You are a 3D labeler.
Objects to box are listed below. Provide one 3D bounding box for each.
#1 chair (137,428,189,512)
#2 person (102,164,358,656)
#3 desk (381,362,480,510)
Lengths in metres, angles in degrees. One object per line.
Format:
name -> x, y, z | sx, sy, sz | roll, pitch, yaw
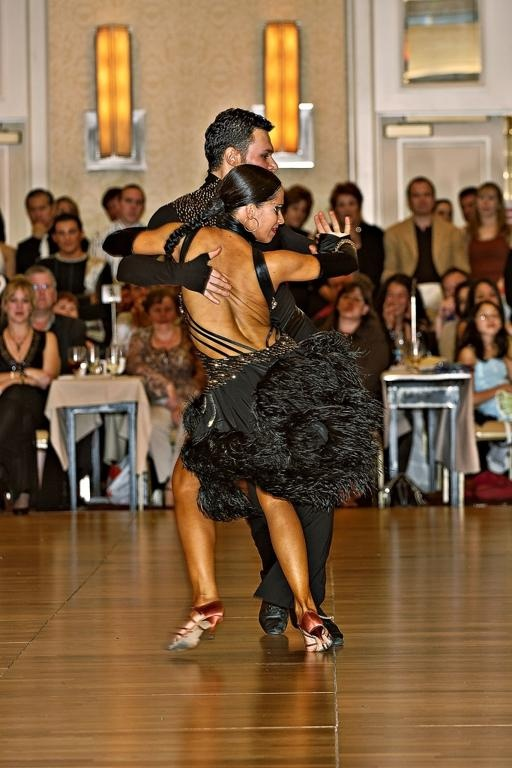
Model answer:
chair -> -0.503, 0.419, 5.019 | 0.430, 0.454, 0.218 | 2, 2, 1
person -> -0.016, 0.074, 2.205 | 0.565, 1.131, 0.324 | -1, 3, -6
desk -> 0.904, 0.254, 4.853 | 0.470, 0.699, 0.711 | 0, 3, 12
